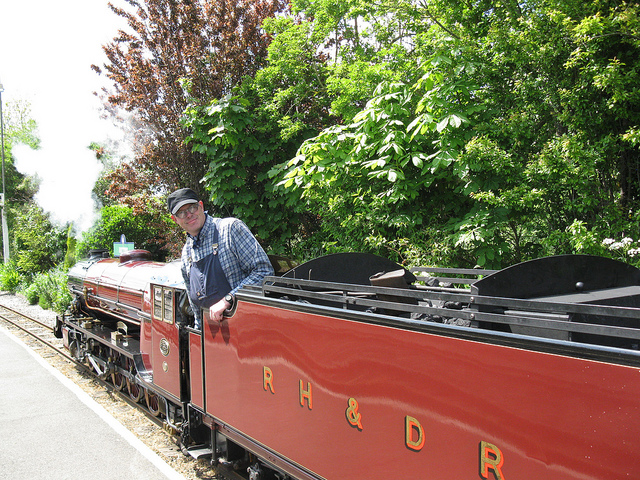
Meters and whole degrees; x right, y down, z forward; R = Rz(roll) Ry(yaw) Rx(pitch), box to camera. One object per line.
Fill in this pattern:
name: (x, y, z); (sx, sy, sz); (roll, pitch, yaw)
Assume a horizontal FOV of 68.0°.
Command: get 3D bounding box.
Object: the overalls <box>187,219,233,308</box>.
overalls: (-1.162, 0.279, 4.681); (0.385, 0.659, 0.421); (-25, -12, 35)
